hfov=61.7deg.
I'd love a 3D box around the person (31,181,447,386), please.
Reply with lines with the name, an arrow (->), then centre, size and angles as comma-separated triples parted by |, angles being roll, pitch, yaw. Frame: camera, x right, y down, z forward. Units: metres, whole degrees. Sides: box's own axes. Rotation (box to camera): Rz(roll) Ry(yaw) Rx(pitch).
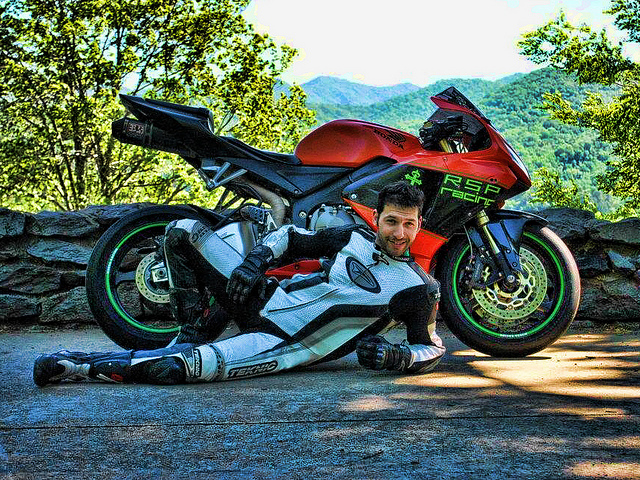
person -> -0.203, 0.332, 2.955 | 2.435, 0.863, 1.051 | -11, 7, 13

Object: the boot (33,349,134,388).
boot -> -1.093, 0.625, 2.522 | 0.414, 0.121, 0.194 | -1, 25, -11
